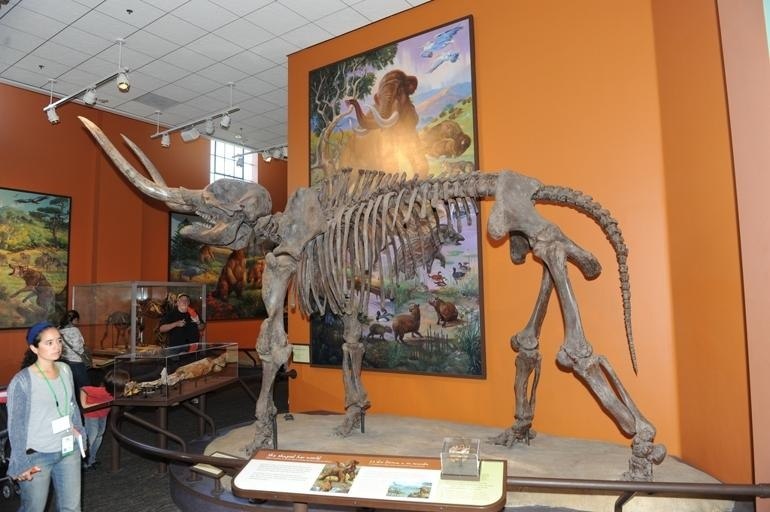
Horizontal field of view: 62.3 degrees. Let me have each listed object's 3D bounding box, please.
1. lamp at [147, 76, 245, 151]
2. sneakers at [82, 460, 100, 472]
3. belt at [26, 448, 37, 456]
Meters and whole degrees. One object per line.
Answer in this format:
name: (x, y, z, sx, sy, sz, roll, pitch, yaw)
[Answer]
lamp: (-3.443, -2.456, 11.683, 1.402, 0.908, 2.756, 0, -2, -27)
sneakers: (-3.668, 2.648, 7.955, 0.230, 0.095, 0.074, -1, 2, 12)
belt: (-3.350, 1.849, 6.005, 0.091, 0.080, 0.024, 10, -5, -7)
